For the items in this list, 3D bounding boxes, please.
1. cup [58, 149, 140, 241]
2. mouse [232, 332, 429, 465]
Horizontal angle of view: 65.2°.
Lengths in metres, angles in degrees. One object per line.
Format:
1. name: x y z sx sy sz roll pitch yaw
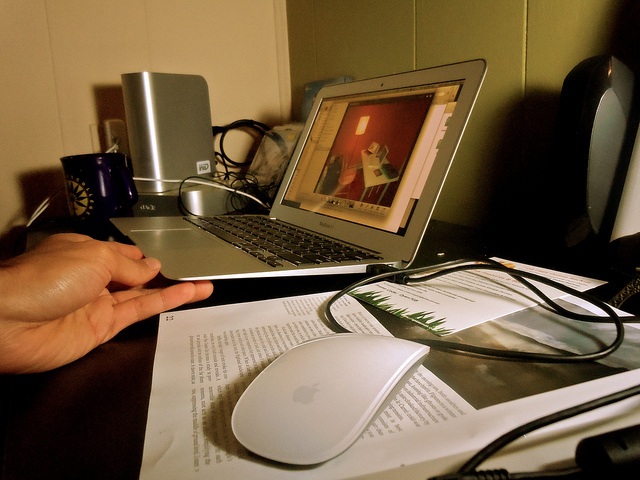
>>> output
1. cup: -0.456 -0.096 1.073 0.177 0.175 0.115 4 10 32
2. mouse: 0.007 0.149 0.513 0.118 0.061 0.190 25 32 32
